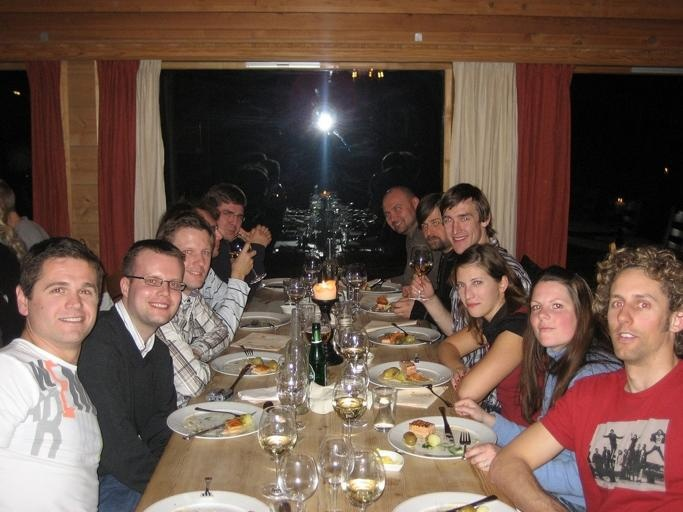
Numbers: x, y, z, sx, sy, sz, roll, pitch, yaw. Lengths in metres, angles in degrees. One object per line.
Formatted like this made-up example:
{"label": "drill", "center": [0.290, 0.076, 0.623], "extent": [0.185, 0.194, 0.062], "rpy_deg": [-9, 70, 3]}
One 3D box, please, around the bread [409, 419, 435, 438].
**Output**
{"label": "bread", "center": [0.296, 0.619, 1.907], "extent": [0.070, 0.043, 0.052], "rpy_deg": [17, 28, 36]}

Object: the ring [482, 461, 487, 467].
{"label": "ring", "center": [0.488, 0.709, 1.761], "extent": [0.016, 0.006, 0.021], "rpy_deg": [-4, 5, 1]}

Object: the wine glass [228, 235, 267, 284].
{"label": "wine glass", "center": [-0.718, 0.030, 3.969], "extent": [0.203, 0.421, 0.173], "rpy_deg": [-44, 7, -12]}

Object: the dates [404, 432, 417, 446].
{"label": "dates", "center": [0.248, 0.653, 1.851], "extent": [0.032, 0.034, 0.043], "rpy_deg": [-8, 5, 25]}

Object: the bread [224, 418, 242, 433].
{"label": "bread", "center": [-0.398, 0.629, 1.921], "extent": [0.048, 0.019, 0.035], "rpy_deg": [-9, 45, -23]}

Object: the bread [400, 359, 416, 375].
{"label": "bread", "center": [0.318, 0.529, 2.437], "extent": [0.049, 0.060, 0.090], "rpy_deg": [1, 4, -4]}

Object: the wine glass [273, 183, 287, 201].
{"label": "wine glass", "center": [-0.616, -0.639, 5.207], "extent": [0.130, 0.163, 0.045], "rpy_deg": [-14, 2, -3]}

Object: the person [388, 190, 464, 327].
{"label": "person", "center": [0.848, 0.102, 4.240], "extent": [0.719, 1.157, 0.698], "rpy_deg": [-2, 20, 16]}
